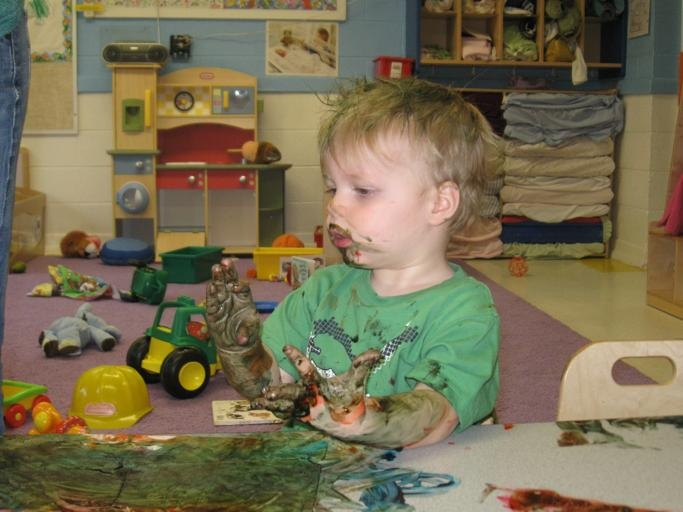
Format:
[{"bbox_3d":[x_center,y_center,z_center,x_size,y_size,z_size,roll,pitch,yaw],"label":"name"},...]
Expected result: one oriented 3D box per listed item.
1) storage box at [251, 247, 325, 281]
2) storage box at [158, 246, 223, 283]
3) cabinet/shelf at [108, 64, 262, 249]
[{"bbox_3d":[-0.374,0.050,4.340,0.356,0.143,0.234,-1,3,-2],"label":"storage box"},{"bbox_3d":[-0.949,0.057,4.321,0.347,0.227,0.512,0,4,14],"label":"storage box"},{"bbox_3d":[-1.061,-0.685,5.072,1.338,1.347,0.481,1,9,-17],"label":"cabinet/shelf"}]
